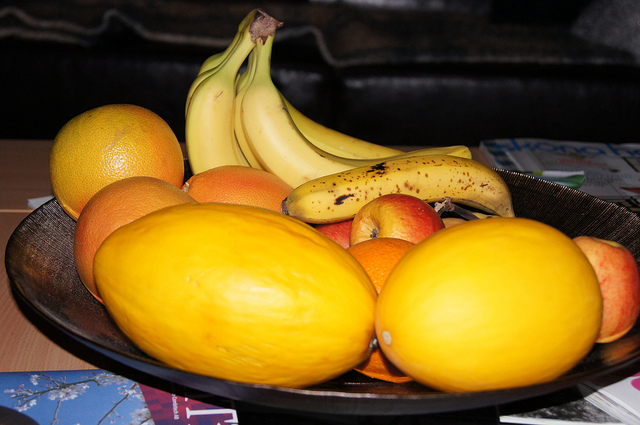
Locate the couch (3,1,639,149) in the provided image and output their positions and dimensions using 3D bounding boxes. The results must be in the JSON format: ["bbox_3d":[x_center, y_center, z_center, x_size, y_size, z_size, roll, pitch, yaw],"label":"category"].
[{"bbox_3d":[0.188,-0.430,2.622,2.348,0.238,0.701,5,57,0],"label":"couch"}]

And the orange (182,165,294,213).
[{"bbox_3d":[-0.146,-0.039,1.055,0.158,0.087,0.159,17,28,39],"label":"orange"}]

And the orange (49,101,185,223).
[{"bbox_3d":[-0.347,-0.107,1.091,0.224,0.222,0.208,9,8,15],"label":"orange"}]

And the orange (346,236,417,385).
[{"bbox_3d":[0.091,0.120,0.867,0.110,0.157,0.232,3,50,3],"label":"orange"}]
